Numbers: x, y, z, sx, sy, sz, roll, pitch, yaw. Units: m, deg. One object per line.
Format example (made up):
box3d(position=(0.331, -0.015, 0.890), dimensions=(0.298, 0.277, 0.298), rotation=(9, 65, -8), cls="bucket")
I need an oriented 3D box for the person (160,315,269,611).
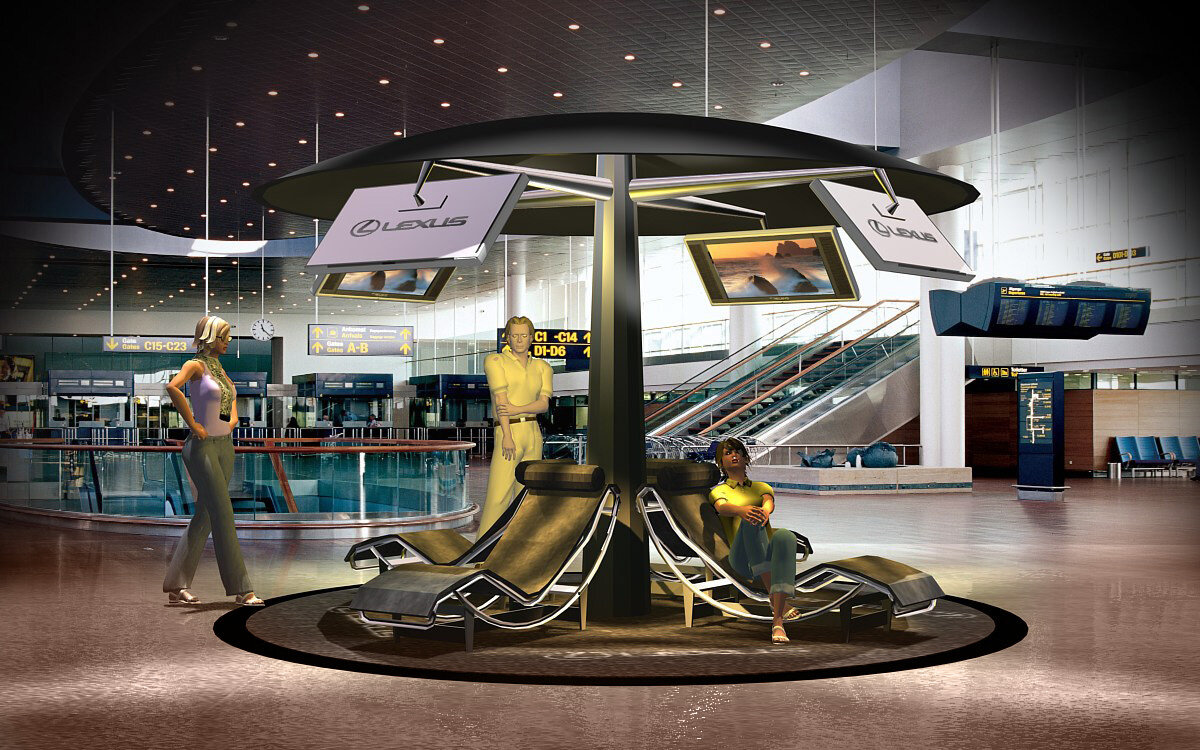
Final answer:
box3d(position=(-3.302, 0.715, 7.072), dimensions=(0.818, 2.533, 0.887), rotation=(3, -6, -20), cls="person")
